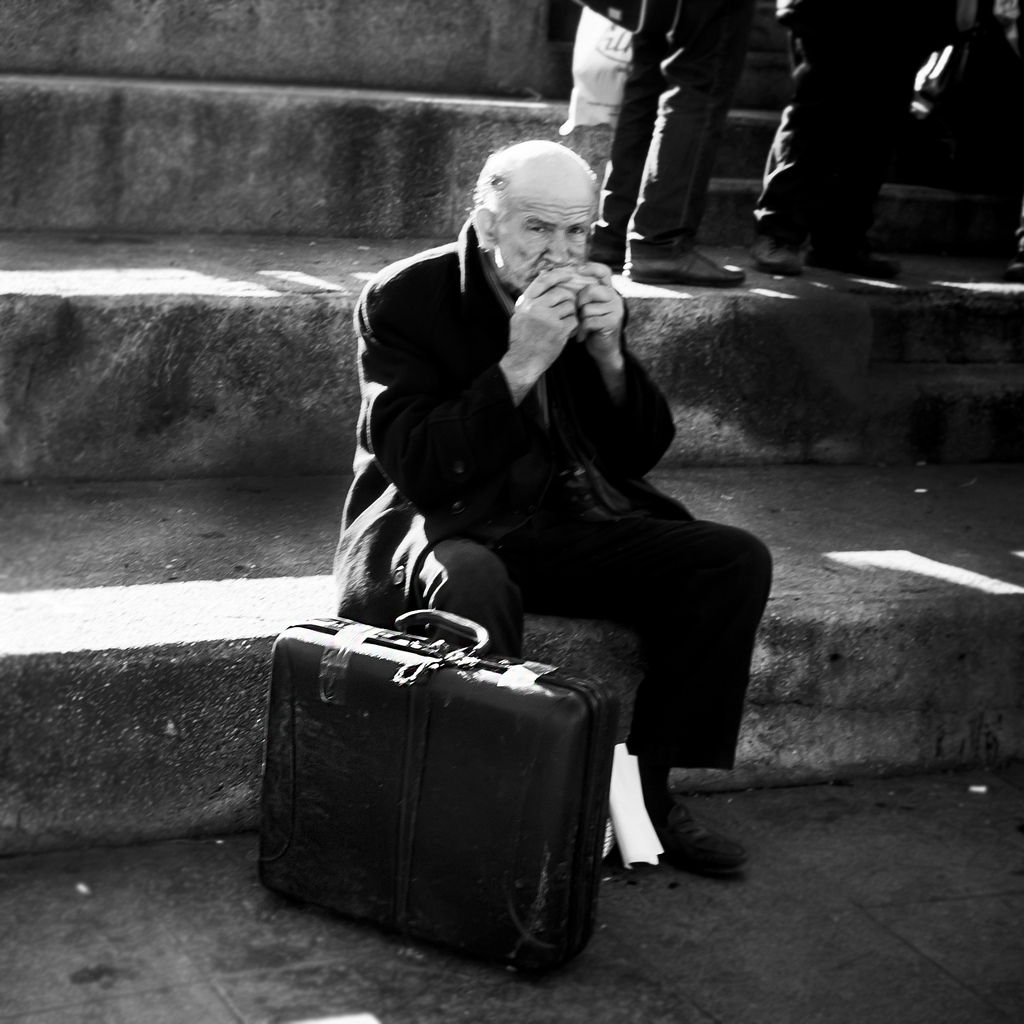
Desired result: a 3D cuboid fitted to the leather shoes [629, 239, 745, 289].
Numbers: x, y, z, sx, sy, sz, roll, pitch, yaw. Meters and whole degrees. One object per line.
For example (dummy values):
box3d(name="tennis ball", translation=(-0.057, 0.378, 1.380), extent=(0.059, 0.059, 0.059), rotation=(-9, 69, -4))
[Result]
box3d(name="leather shoes", translation=(0.496, -0.747, 4.011), extent=(0.395, 0.124, 0.122), rotation=(-1, 16, -13))

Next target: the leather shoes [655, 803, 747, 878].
box3d(name="leather shoes", translation=(0.344, 0.633, 2.595), extent=(0.091, 0.079, 0.238), rotation=(-15, 20, -41))

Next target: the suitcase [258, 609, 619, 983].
box3d(name="suitcase", translation=(-0.140, 0.494, 2.199), extent=(0.680, 0.468, 0.249), rotation=(11, 8, 28))

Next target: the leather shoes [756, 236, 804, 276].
box3d(name="leather shoes", translation=(0.886, -0.859, 4.471), extent=(0.103, 0.085, 0.240), rotation=(-4, 17, -13))
